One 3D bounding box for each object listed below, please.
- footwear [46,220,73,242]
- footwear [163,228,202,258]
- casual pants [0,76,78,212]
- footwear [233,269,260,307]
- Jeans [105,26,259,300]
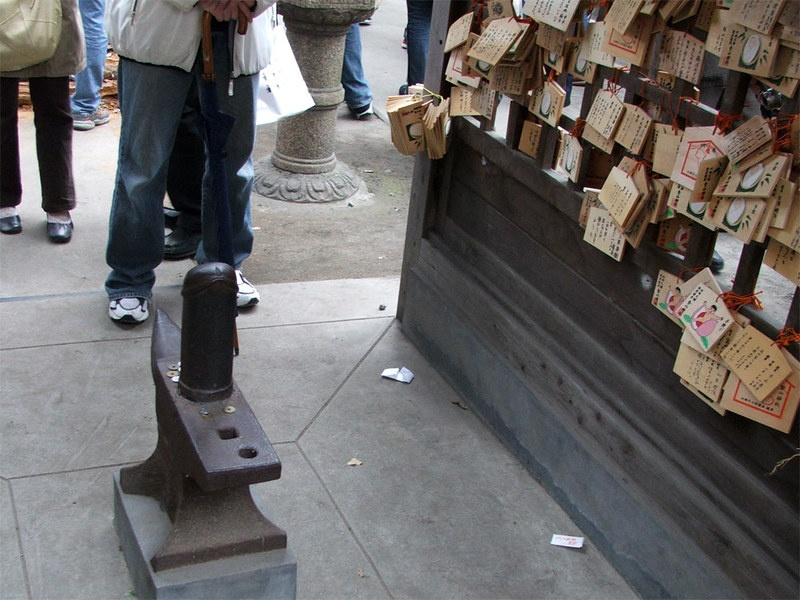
[{"bbox_3d":[-2.234,-0.458,3.966,0.147,0.125,0.137,-11,32,-27],"label":"footwear"},{"bbox_3d":[-1.425,-0.389,4.003,0.137,0.156,0.363,11,19,30],"label":"footwear"},{"bbox_3d":[-2.344,-0.997,3.852,0.530,0.851,0.290,-7,30,-20],"label":"casual pants"},{"bbox_3d":[-0.834,-0.064,3.290,0.133,0.162,0.358,-7,23,-20],"label":"footwear"},{"bbox_3d":[-1.184,-0.809,3.326,0.788,1.822,0.509,-18,49,-38],"label":"Jeans"}]
